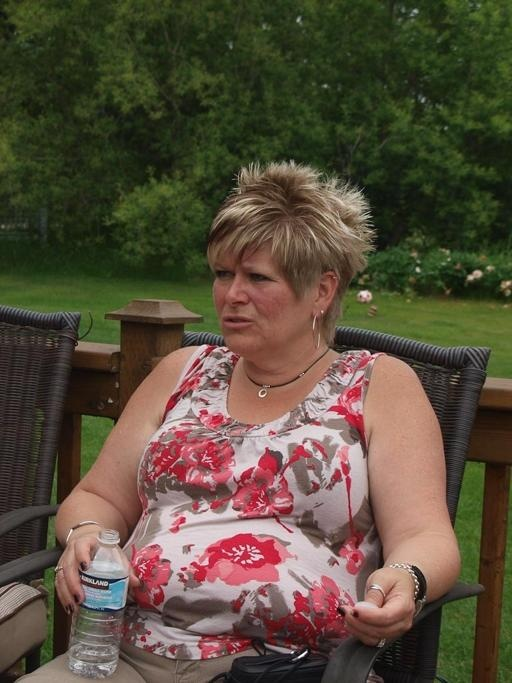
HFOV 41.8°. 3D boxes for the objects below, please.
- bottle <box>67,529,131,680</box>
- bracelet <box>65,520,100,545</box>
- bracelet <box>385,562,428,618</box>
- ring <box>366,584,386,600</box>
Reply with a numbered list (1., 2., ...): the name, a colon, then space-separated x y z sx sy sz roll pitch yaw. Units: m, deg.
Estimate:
1. bottle: -0.275 0.458 1.180 0.095 0.258 0.172 4 6 -10
2. bracelet: -0.351 0.372 1.342 0.061 0.050 0.023 -32 32 -24
3. bracelet: 0.240 0.389 1.067 0.063 0.072 0.064 7 6 15
4. ring: 0.179 0.371 0.993 0.018 0.019 0.010 -6 -33 -26
